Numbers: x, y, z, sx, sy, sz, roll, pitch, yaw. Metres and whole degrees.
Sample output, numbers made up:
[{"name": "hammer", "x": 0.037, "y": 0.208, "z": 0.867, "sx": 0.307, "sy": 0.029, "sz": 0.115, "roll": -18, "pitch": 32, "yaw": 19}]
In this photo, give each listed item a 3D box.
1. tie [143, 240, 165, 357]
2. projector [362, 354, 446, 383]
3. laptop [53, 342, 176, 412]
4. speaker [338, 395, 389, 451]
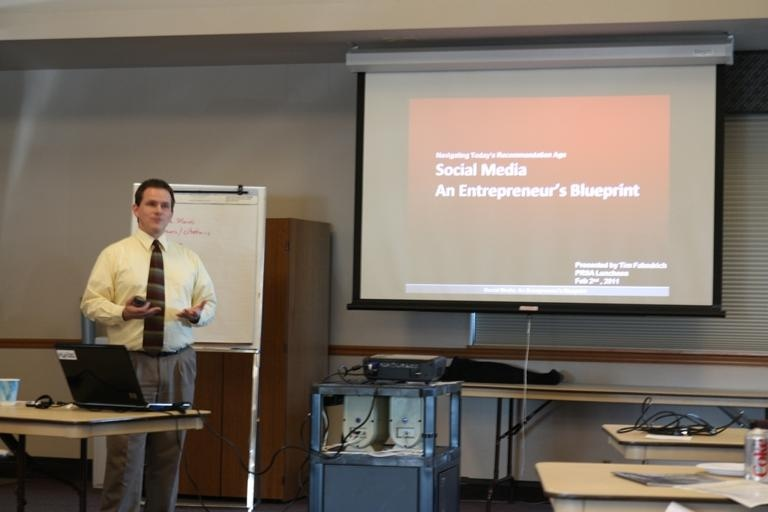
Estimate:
[{"name": "tie", "x": -1.526, "y": 0.206, "z": 5.278, "sx": 0.052, "sy": 0.690, "sz": 0.124, "roll": 0, "pitch": -17, "yaw": -11}, {"name": "projector", "x": 0.134, "y": 0.758, "z": 5.420, "sx": 0.544, "sy": 0.170, "sz": 0.161, "roll": 0, "pitch": -1, "yaw": 1}, {"name": "laptop", "x": -1.610, "y": 0.679, "z": 4.743, "sx": 0.517, "sy": 0.301, "sz": 0.491, "roll": -1, "pitch": -7, "yaw": 29}, {"name": "speaker", "x": -0.163, "y": 1.096, "z": 5.477, "sx": 0.235, "sy": 0.393, "sz": 0.403, "roll": 3, "pitch": -9, "yaw": 3}]
